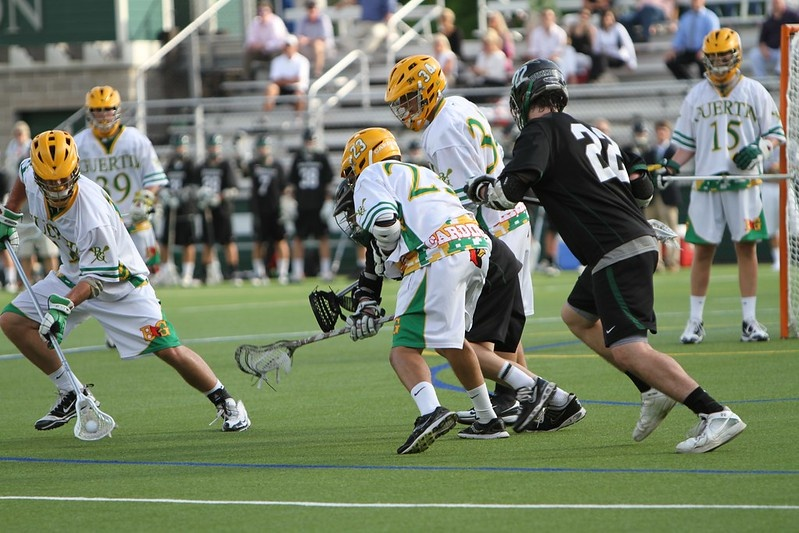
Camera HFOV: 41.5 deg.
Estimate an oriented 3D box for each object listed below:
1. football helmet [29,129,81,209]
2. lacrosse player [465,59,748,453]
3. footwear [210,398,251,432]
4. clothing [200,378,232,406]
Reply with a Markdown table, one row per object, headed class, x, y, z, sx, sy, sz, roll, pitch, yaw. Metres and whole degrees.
| class | x | y | z | sx | sy | sz | roll | pitch | yaw |
| --- | --- | --- | --- | --- | --- | --- | --- | --- | --- |
| football helmet | -2.508 | -0.657 | 7.710 | 0.360 | 0.510 | 0.544 | -9 | 47 | -6 |
| lacrosse player | 1.350 | -0.098 | 7.109 | 1.539 | 2.631 | 0.644 | -2 | 7 | 12 |
| footwear | -1.270 | 1.126 | 7.895 | 0.414 | 0.261 | 0.151 | -4 | 2 | 36 |
| clothing | -1.405 | 0.975 | 7.981 | 0.159 | 0.207 | 0.172 | 25 | 39 | 36 |
